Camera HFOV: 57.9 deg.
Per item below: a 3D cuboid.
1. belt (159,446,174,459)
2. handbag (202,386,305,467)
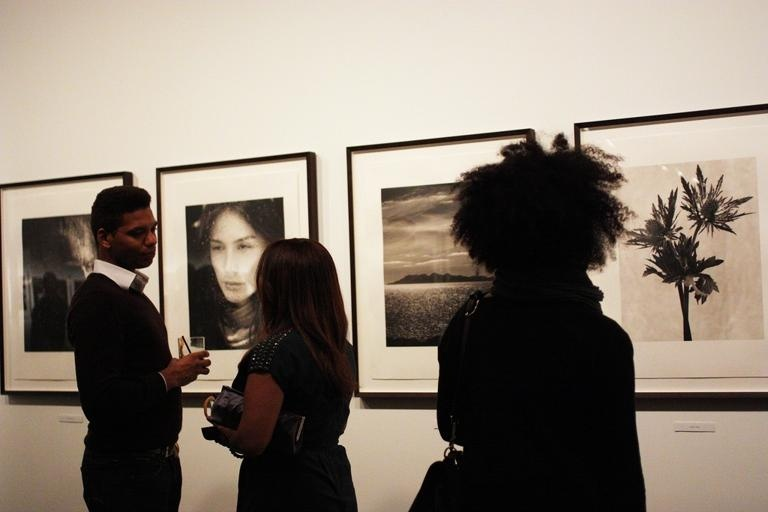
[{"bbox_3d":[-1.263,1.137,4.039,0.059,0.043,0.060,2,-4,16],"label":"belt"},{"bbox_3d":[-0.674,0.829,3.499,0.442,0.345,0.171,-3,43,39],"label":"handbag"}]
